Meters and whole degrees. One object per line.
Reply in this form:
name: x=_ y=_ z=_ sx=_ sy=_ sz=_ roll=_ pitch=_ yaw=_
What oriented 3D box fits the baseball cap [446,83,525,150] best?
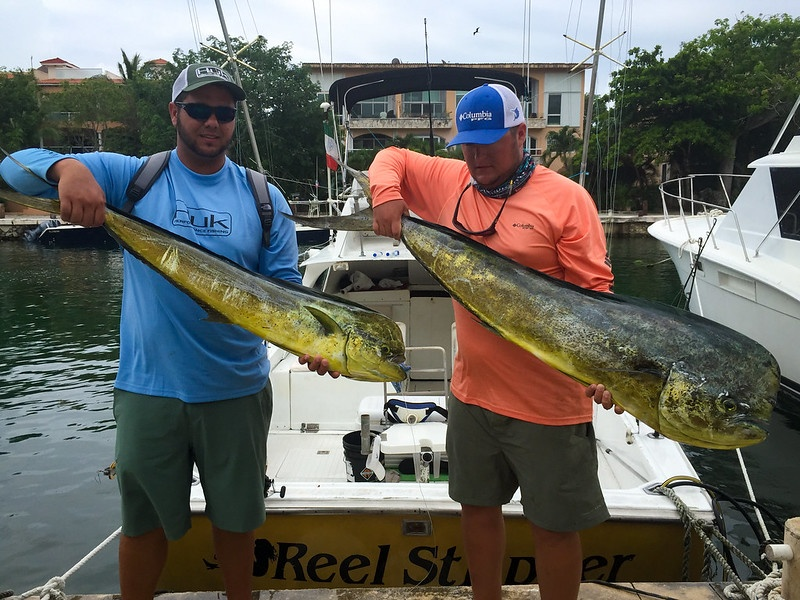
baseball cap: x=0.408 y=-0.861 z=3.001 sx=0.223 sy=0.179 sz=0.345 roll=9 pitch=44 yaw=44

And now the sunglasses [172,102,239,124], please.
sunglasses: x=-0.900 y=-0.877 z=3.021 sx=0.265 sy=0.099 sz=0.117 roll=-6 pitch=14 yaw=-16

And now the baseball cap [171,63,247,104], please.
baseball cap: x=-0.909 y=-1.047 z=3.024 sx=0.209 sy=0.167 sz=0.283 roll=-9 pitch=22 yaw=-35

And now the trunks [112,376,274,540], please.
trunks: x=-0.962 y=0.738 z=2.985 sx=0.640 sy=0.655 sz=0.205 roll=-4 pitch=13 yaw=-8
